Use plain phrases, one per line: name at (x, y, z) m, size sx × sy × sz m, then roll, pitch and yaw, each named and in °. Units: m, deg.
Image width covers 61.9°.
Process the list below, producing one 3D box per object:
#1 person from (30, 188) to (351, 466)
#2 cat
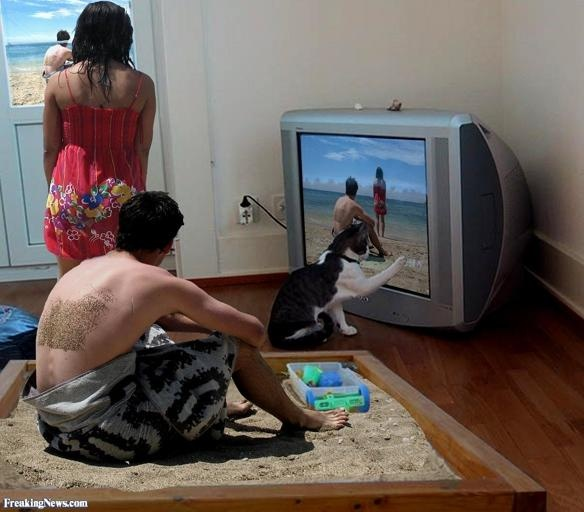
person at (-0.284, 0.195, 1.460) m, size 0.577 × 0.707 × 0.818 m, roll 0°, pitch 2°, yaw 39°
cat at (0.195, 0.144, 2.693) m, size 0.702 × 0.565 × 0.550 m, roll -12°, pitch 26°, yaw -7°
